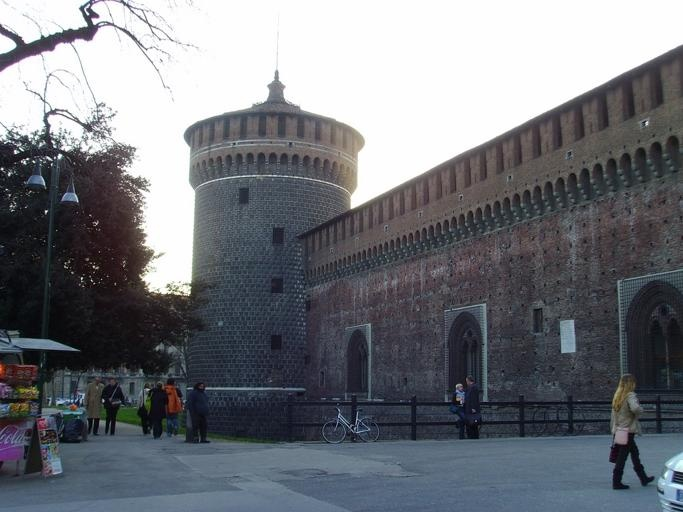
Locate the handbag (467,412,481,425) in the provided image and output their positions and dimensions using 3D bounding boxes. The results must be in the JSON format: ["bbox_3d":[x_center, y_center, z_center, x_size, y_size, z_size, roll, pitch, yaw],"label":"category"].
[{"bbox_3d":[3.667,4.414,22.955,0.376,0.270,0.277,0,-4,-15],"label":"handbag"}]

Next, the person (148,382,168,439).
[{"bbox_3d":[-5.380,4.446,24.211,0.501,1.626,1.144,3,-14,-12],"label":"person"}]

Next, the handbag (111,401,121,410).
[{"bbox_3d":[-6.976,4.566,25.706,0.207,0.183,0.312,2,-3,-1],"label":"handbag"}]

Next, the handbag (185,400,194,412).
[{"bbox_3d":[-4.057,3.945,22.120,0.179,0.345,0.129,9,-16,-33],"label":"handbag"}]

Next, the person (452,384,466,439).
[{"bbox_3d":[3.345,4.368,23.507,0.531,1.532,0.471,3,-9,9],"label":"person"}]

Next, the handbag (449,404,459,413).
[{"bbox_3d":[3.136,4.229,23.252,0.246,0.271,0.669,-2,-15,7],"label":"handbag"}]

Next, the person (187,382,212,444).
[{"bbox_3d":[-3.890,4.177,22.412,0.570,1.583,0.954,2,-14,-9],"label":"person"}]

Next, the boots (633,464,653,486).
[{"bbox_3d":[5.311,3.828,14.632,0.310,0.347,0.466,-5,-15,20],"label":"boots"}]

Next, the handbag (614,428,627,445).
[{"bbox_3d":[4.874,3.128,14.547,0.250,0.293,0.151,0,-28,29],"label":"handbag"}]

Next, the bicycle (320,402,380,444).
[{"bbox_3d":[0.181,4.593,22.437,1.562,1.019,0.790,3,-17,-9],"label":"bicycle"}]

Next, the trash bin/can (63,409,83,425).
[{"bbox_3d":[-7.359,4.377,22.783,0.435,0.416,0.446,-1,-4,6],"label":"trash bin/can"}]

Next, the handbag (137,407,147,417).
[{"bbox_3d":[-6.284,4.830,26.053,0.301,0.323,0.340,-3,-2,2],"label":"handbag"}]
